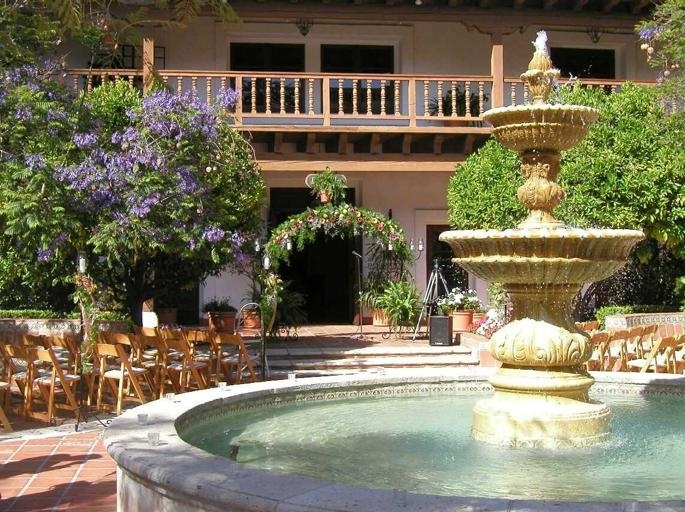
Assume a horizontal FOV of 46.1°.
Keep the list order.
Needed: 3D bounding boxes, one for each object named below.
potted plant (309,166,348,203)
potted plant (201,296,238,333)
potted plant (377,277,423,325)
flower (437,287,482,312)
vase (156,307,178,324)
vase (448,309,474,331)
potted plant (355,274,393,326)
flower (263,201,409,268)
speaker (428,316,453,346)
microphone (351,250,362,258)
[{"bbox_3d":[-0.307,-1.460,17.212,0.732,0.740,0.782,2,-5,-13],"label":"potted plant"},{"bbox_3d":[-2.646,1.217,17.381,0.626,0.763,0.671,0,1,-7],"label":"potted plant"},{"bbox_3d":[1.205,0.912,17.175,0.829,0.928,0.893,1,5,13],"label":"potted plant"},{"bbox_3d":[2.488,0.962,17.223,0.619,0.404,0.658,0,4,20],"label":"flower"},{"bbox_3d":[-4.087,1.293,18.938,0.436,0.381,0.471,0,-2,13],"label":"vase"},{"bbox_3d":[2.489,1.347,17.008,0.416,0.367,0.436,-5,-8,34],"label":"vase"},{"bbox_3d":[0.566,0.991,18.784,0.946,1.410,1.051,3,-7,-16],"label":"potted plant"},{"bbox_3d":[-0.095,-0.362,15.312,2.605,1.256,0.848,5,0,-9],"label":"flower"},{"bbox_3d":[1.840,1.331,15.083,0.392,0.612,0.785,-1,-2,7],"label":"speaker"},{"bbox_3d":[0.326,-0.051,18.533,0.083,0.164,0.383,-23,19,-9],"label":"microphone"}]
